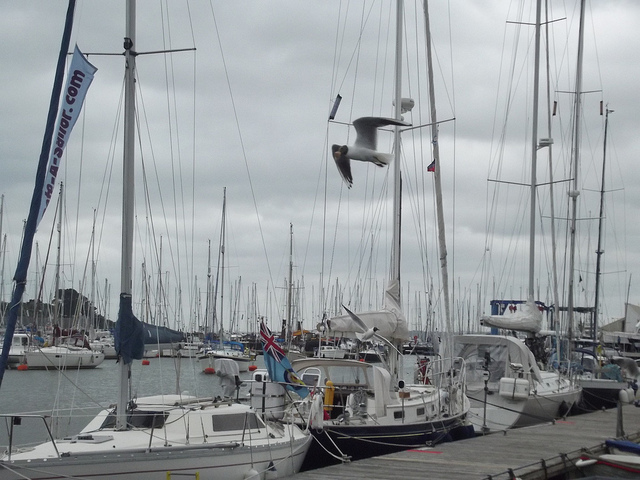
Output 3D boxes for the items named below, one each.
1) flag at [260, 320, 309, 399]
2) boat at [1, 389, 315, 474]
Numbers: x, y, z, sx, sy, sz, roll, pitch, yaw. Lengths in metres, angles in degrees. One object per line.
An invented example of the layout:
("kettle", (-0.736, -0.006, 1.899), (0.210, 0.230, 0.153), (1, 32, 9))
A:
("flag", (-0.926, 3.041, 23.837), (1.011, 2.649, 0.211), (0, -45, -15))
("boat", (-3.512, 4.780, 22.242), (6.778, 2.098, 2.239), (-2, -3, -22))
